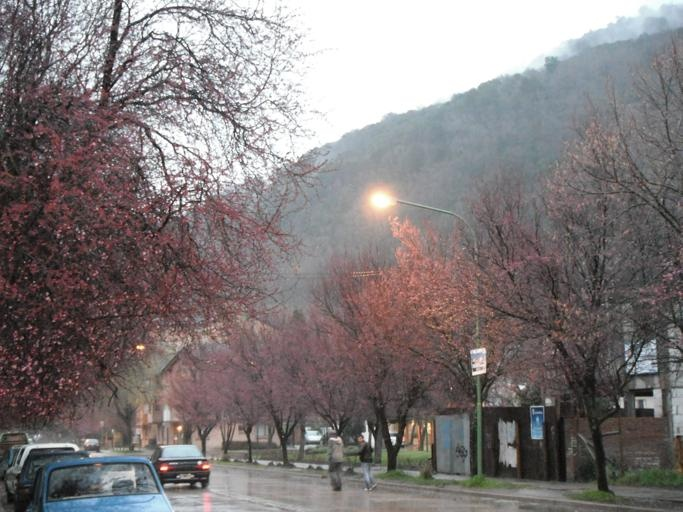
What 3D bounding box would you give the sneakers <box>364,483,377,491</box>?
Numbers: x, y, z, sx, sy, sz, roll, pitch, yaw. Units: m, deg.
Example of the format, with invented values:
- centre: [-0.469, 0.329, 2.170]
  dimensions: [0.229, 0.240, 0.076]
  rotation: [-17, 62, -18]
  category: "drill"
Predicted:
- centre: [1.014, 8.448, 38.174]
  dimensions: [0.176, 0.272, 0.552]
  rotation: [0, -5, -25]
  category: "sneakers"
